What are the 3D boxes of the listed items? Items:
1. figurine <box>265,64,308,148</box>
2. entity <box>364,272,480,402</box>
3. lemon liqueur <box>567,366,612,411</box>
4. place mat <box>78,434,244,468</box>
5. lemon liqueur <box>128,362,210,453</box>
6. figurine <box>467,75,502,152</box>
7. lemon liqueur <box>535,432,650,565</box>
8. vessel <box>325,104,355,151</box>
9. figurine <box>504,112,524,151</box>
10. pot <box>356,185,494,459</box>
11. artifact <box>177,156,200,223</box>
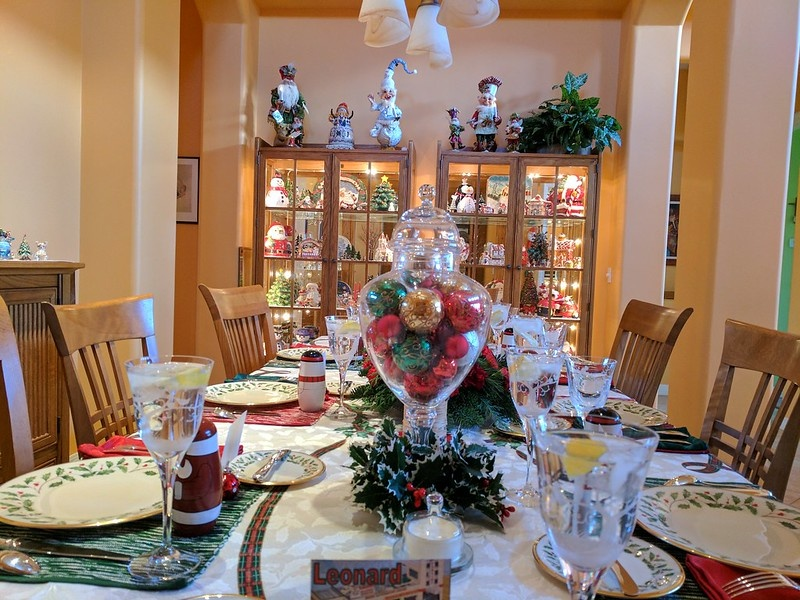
[{"bbox_3d":[-0.830,-1.423,4.584,0.233,0.569,0.210,0,14,-3],"label":"figurine"},{"bbox_3d":[0.052,0.078,1.340,0.249,0.254,0.240,2,-3,0],"label":"entity"},{"bbox_3d":[0.431,0.195,1.435,0.103,0.118,0.107,1,-1,3],"label":"lemon liqueur"},{"bbox_3d":[-0.460,0.297,1.211,0.144,0.042,0.147,2,-1,-5],"label":"place mat"},{"bbox_3d":[-0.386,0.186,1.061,0.129,0.150,0.077,-5,15,-25],"label":"lemon liqueur"},{"bbox_3d":[0.631,-1.369,4.562,0.211,0.533,0.226,3,14,6],"label":"figurine"},{"bbox_3d":[0.263,0.279,0.865,0.150,0.183,0.067,6,14,21],"label":"lemon liqueur"},{"bbox_3d":[-0.439,-1.285,4.599,0.185,0.320,0.206,0,14,-6],"label":"vessel"},{"bbox_3d":[0.841,-1.223,4.535,0.116,0.272,0.203,3,14,9],"label":"figurine"},{"bbox_3d":[0.062,0.046,1.356,0.284,0.568,0.301,1,2,0],"label":"pot"},{"bbox_3d":[-1.593,-0.826,4.695,0.179,0.495,0.076,3,14,8],"label":"artifact"}]
